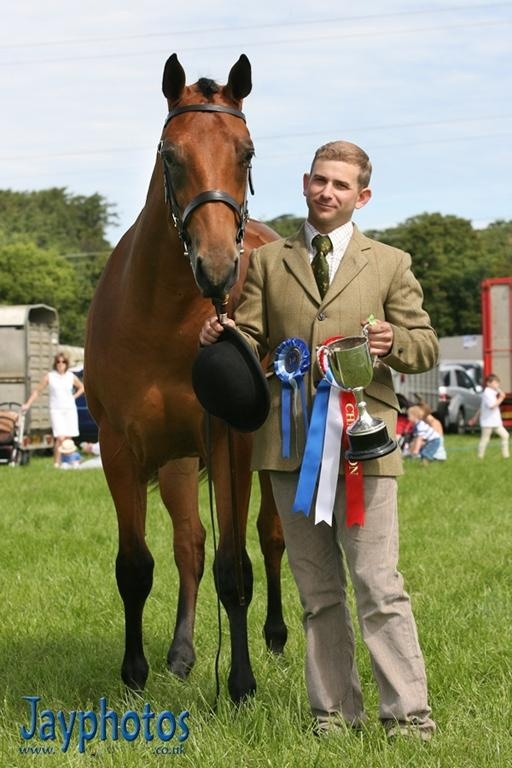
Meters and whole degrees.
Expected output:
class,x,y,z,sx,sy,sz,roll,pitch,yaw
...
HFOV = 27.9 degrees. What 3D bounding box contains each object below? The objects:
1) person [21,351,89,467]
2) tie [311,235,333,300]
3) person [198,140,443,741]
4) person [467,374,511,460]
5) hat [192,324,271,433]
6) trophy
class,x,y,z,sx,sy,sz,roll,pitch,yaw
person,-2.640,0.312,13.465,0.735,1.427,1.930,1,2,-12
tie,0.218,-0.389,3.411,0.060,0.221,0.067,-4,-3,19
person,0.214,0.155,3.526,0.605,2.041,0.693,0,0,4
person,3.479,0.459,15.262,0.645,1.849,0.585,3,13,30
hat,-0.078,-0.009,3.353,0.262,0.330,0.088,2,2,21
trophy,0.329,0.052,3.218,0.242,0.393,0.175,1,2,-7
